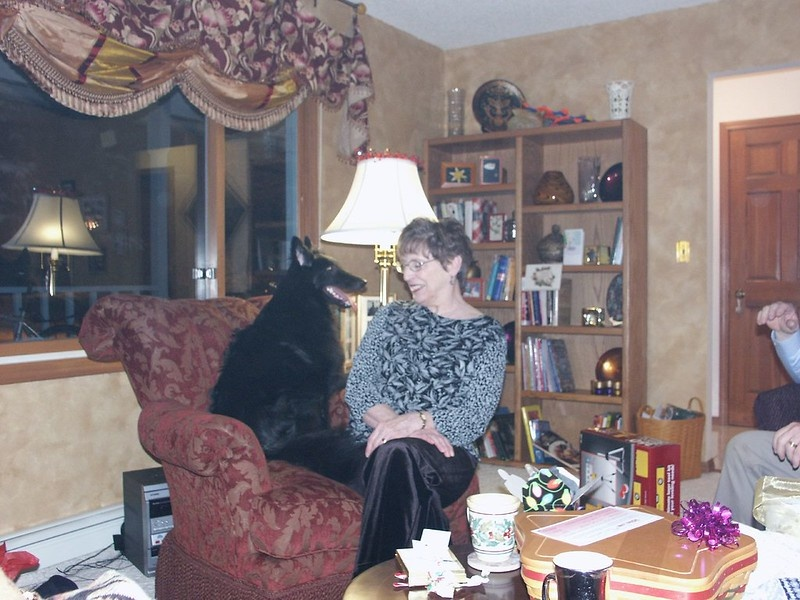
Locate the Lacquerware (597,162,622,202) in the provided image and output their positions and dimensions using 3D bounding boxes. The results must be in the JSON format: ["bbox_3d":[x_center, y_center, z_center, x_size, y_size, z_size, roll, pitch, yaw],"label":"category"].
[{"bbox_3d":[1.292,-0.727,4.649,0.202,0.209,0.050,-24,-14,39],"label":"Lacquerware"}]

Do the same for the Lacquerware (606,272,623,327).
[{"bbox_3d":[1.332,0.000,4.711,0.088,0.329,0.345,1,0,12],"label":"Lacquerware"}]

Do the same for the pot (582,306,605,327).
[{"bbox_3d":[1.203,0.117,4.750,0.151,0.100,0.182,-2,3,8],"label":"pot"}]

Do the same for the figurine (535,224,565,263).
[{"bbox_3d":[0.963,-0.350,4.792,0.204,0.312,0.210,5,3,5],"label":"figurine"}]

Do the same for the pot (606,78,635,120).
[{"bbox_3d":[1.369,-1.235,4.686,0.163,0.235,0.172,-2,12,0],"label":"pot"}]

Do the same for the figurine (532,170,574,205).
[{"bbox_3d":[0.961,-0.677,4.786,0.225,0.217,0.222,-1,0,-31],"label":"figurine"}]

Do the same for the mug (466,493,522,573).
[{"bbox_3d":[0.286,0.724,2.349,0.175,0.203,0.178,4,-6,-1],"label":"mug"}]

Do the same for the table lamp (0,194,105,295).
[{"bbox_3d":[-1.556,-0.235,3.646,0.410,0.579,0.382,3,-2,-15],"label":"table lamp"}]

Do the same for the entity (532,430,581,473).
[{"bbox_3d":[0.994,0.927,4.621,0.225,0.188,0.378,1,0,-26],"label":"entity"}]

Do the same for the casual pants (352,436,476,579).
[{"bbox_3d":[0.069,0.803,2.836,0.471,0.573,0.359,29,-35,-29],"label":"casual pants"}]

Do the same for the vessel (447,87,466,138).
[{"bbox_3d":[0.385,-1.288,5.224,0.122,0.346,0.120,-1,9,-7],"label":"vessel"}]

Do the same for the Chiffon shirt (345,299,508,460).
[{"bbox_3d":[0.107,0.357,3.181,0.644,0.619,0.376,12,23,24],"label":"Chiffon shirt"}]

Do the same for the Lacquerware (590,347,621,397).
[{"bbox_3d":[1.274,0.448,4.662,0.175,0.285,0.186,1,1,13],"label":"Lacquerware"}]

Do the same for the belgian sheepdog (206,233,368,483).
[{"bbox_3d":[-0.470,0.224,3.359,0.591,0.999,0.397,-5,35,-8],"label":"belgian sheepdog"}]

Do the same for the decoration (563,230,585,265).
[{"bbox_3d":[1.090,-0.328,4.752,0.130,0.215,0.059,1,1,12],"label":"decoration"}]
